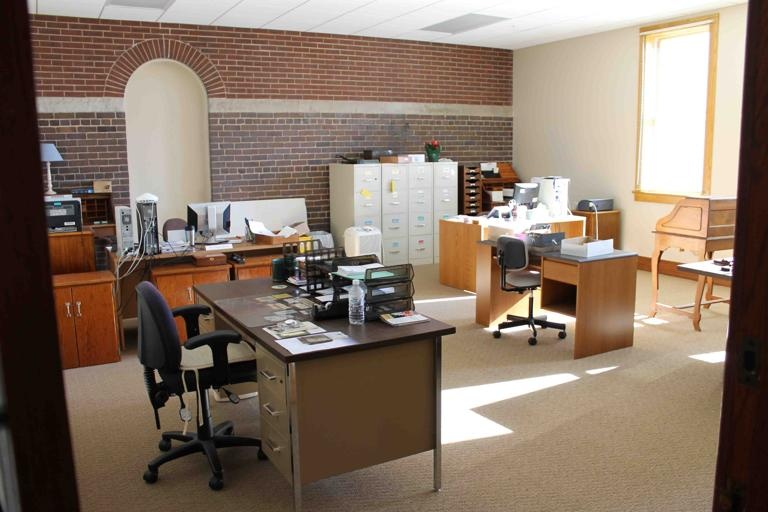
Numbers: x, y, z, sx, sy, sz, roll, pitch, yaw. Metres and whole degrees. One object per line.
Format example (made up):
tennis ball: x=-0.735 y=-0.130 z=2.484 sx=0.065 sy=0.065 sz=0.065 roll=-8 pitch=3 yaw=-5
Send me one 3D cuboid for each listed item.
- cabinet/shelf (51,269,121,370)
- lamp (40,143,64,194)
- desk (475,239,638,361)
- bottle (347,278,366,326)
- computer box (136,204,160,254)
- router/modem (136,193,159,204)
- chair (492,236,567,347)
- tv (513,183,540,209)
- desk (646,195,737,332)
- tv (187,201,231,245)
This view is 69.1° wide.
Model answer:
cabinet/shelf: x=-2.709 y=0.599 z=5.101 sx=0.492 sy=0.817 sz=0.166 roll=-10 pitch=17 yaw=-31
lamp: x=-4.131 y=-1.103 z=6.961 sx=0.217 sy=0.641 sz=0.936 roll=-9 pitch=16 yaw=-29
desk: x=1.715 y=0.347 z=5.686 sx=0.758 sy=0.771 sz=1.352 roll=9 pitch=-7 yaw=-25
bottle: x=-0.169 y=0.267 z=3.420 sx=0.097 sy=0.265 sz=0.198 roll=-1 pitch=14 yaw=1
computer box: x=-2.400 y=-0.292 z=5.642 sx=0.205 sy=0.515 sz=0.290 roll=-7 pitch=15 yaw=-21
router/modem: x=-2.462 y=-0.591 z=5.763 sx=0.333 sy=0.129 sz=0.322 roll=-3 pitch=6 yaw=-27
chair: x=1.487 y=0.310 z=5.716 sx=0.811 sy=0.963 sz=0.710 roll=2 pitch=5 yaw=-6
tv: x=1.838 y=-0.792 z=7.236 sx=0.370 sy=0.338 sz=0.115 roll=-6 pitch=14 yaw=-21
desk: x=3.443 y=-0.014 z=6.271 sx=0.826 sy=1.381 sz=1.246 roll=8 pitch=16 yaw=30
tv: x=-1.932 y=-0.361 z=6.105 sx=0.511 sy=0.468 sz=0.179 roll=-2 pitch=20 yaw=-23
